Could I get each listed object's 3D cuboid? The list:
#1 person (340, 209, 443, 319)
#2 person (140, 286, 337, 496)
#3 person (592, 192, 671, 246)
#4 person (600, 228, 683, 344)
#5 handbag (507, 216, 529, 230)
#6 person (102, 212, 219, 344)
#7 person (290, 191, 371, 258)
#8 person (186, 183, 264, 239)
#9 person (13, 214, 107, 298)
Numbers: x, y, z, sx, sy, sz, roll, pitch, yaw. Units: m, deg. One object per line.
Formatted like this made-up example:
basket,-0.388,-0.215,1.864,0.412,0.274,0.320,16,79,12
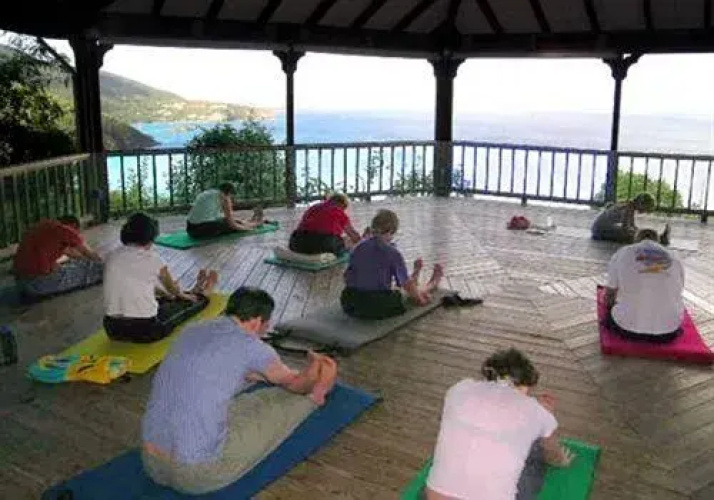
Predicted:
person,0.502,0.138,5.488,0.935,1.128,1.635,8,6,34
person,-0.679,0.740,3.132,0.945,0.972,1.404,22,30,26
person,4.505,-0.526,7.741,1.150,0.821,0.492,9,14,38
person,2.799,0.290,4.537,1.004,1.005,0.984,4,-2,-42
handbag,2.963,-0.472,8.665,0.259,0.135,0.329,-2,18,14
person,-1.981,0.225,4.968,0.686,1.183,1.680,0,2,11
person,-0.319,-0.338,7.359,0.848,1.052,1.611,12,5,34
person,-2.192,-0.693,8.186,1.037,0.886,1.415,12,12,40
person,-3.489,0.065,5.865,1.071,0.856,1.249,4,8,11
